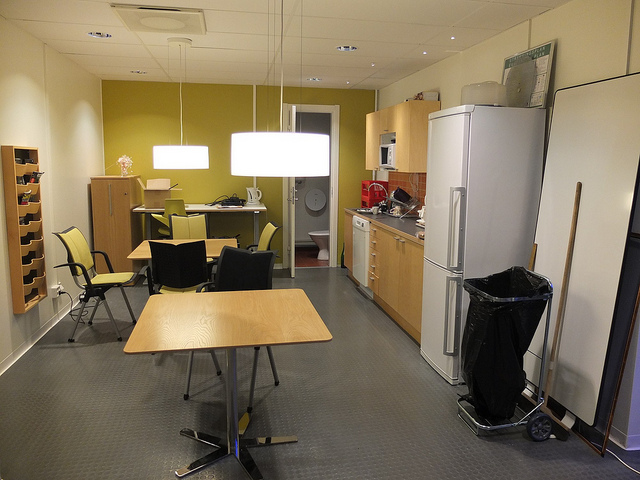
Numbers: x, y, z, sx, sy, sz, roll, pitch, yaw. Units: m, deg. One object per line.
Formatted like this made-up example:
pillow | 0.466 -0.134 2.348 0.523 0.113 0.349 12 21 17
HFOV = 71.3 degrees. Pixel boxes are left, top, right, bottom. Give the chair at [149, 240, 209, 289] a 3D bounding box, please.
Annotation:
chair | -1.397 0.192 4.610 0.418 0.612 0.526 -1 18 -9

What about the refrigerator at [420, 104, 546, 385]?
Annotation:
refrigerator | 1.335 0.049 3.880 0.944 2.356 0.696 7 15 26

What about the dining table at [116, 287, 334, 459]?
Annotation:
dining table | -0.686 0.917 3.415 1.221 0.920 1.460 -3 14 -14

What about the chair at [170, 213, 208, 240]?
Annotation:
chair | -1.661 -0.163 5.863 0.357 0.528 0.419 0 4 -6

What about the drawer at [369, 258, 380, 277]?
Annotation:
drawer | 0.697 0.351 5.722 0.141 0.136 0.266 1 2 -7

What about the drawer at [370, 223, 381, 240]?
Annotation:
drawer | 0.704 -0.114 5.635 0.152 0.155 0.247 1 5 -9

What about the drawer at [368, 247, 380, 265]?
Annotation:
drawer | 0.700 0.193 5.700 0.144 0.155 0.245 -2 6 -15

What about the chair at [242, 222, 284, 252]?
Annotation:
chair | -0.858 -0.061 6.481 0.323 0.486 0.325 9 10 -19

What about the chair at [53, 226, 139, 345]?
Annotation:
chair | -2.429 0.459 4.928 0.708 1.155 0.732 -4 9 -16

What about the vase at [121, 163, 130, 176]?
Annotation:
vase | -3.009 -1.100 6.902 0.129 0.180 0.243 -6 15 -25

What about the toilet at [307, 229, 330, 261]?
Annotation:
toilet | 0.009 0.129 8.210 0.397 0.399 0.473 -13 -5 -7

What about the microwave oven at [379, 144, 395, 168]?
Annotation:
microwave oven | 0.901 -1.119 5.914 0.220 0.293 0.396 1 1 -8

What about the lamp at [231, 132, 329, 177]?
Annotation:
lamp | -0.230 -0.511 2.675 0.593 0.264 0.332 -2 14 -10

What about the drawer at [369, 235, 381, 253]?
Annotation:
drawer | 0.695 0.033 5.695 0.148 0.169 0.252 0 4 -7

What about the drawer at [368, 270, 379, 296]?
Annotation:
drawer | 0.693 0.539 5.739 0.160 0.235 0.320 -1 5 -12

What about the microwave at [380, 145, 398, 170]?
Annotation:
microwave | 0.919 -1.088 5.855 0.226 0.279 0.381 0 3 -7

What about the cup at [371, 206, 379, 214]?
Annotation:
cup | 0.781 -0.429 6.328 0.091 0.080 0.089 0 9 0
